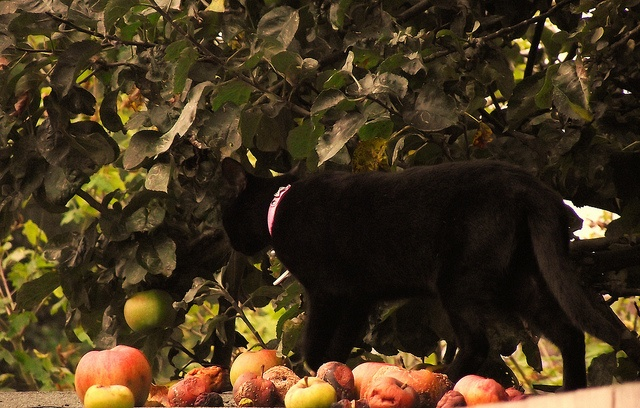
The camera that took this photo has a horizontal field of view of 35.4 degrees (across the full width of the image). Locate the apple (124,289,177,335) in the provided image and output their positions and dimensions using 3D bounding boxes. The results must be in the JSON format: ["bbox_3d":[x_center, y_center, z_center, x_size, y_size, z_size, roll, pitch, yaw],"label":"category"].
[{"bbox_3d":[-0.912,0.576,5.319,0.258,0.233,0.252,-7,14,-24],"label":"apple"}]

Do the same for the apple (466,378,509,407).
[{"bbox_3d":[0.782,0.874,4.660,0.128,0.132,0.131,8,-24,46],"label":"apple"}]

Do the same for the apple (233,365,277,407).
[{"bbox_3d":[-0.307,0.884,4.818,0.148,0.156,0.153,-5,-21,32],"label":"apple"}]

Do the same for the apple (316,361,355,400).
[{"bbox_3d":[0.104,0.840,4.849,0.162,0.201,0.160,-22,-4,10],"label":"apple"}]
